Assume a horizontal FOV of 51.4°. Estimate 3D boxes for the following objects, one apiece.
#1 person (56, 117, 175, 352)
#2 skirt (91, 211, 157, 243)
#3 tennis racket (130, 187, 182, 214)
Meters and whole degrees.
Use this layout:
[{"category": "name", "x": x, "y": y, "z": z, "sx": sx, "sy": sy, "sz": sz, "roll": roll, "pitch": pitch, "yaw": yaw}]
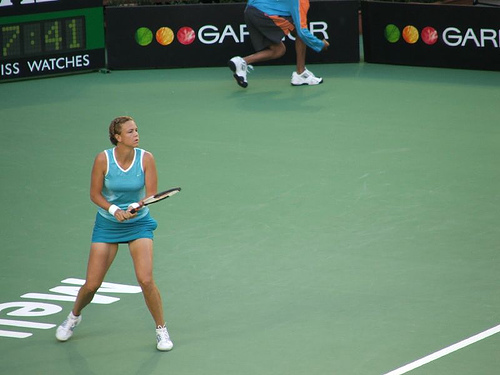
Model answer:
[{"category": "person", "x": -1.185, "y": 0.424, "z": 4.476, "sx": 0.865, "sy": 1.992, "sz": 0.589, "roll": -6, "pitch": 10, "yaw": -14}, {"category": "skirt", "x": -1.106, "y": 0.317, "z": 4.800, "sx": 0.581, "sy": 0.174, "sz": 0.650, "roll": 6, "pitch": 8, "yaw": -20}, {"category": "tennis racket", "x": -0.773, "y": 0.102, "z": 4.409, "sx": 0.443, "sy": 0.221, "sz": 0.199, "roll": -1, "pitch": 11, "yaw": 13}]
